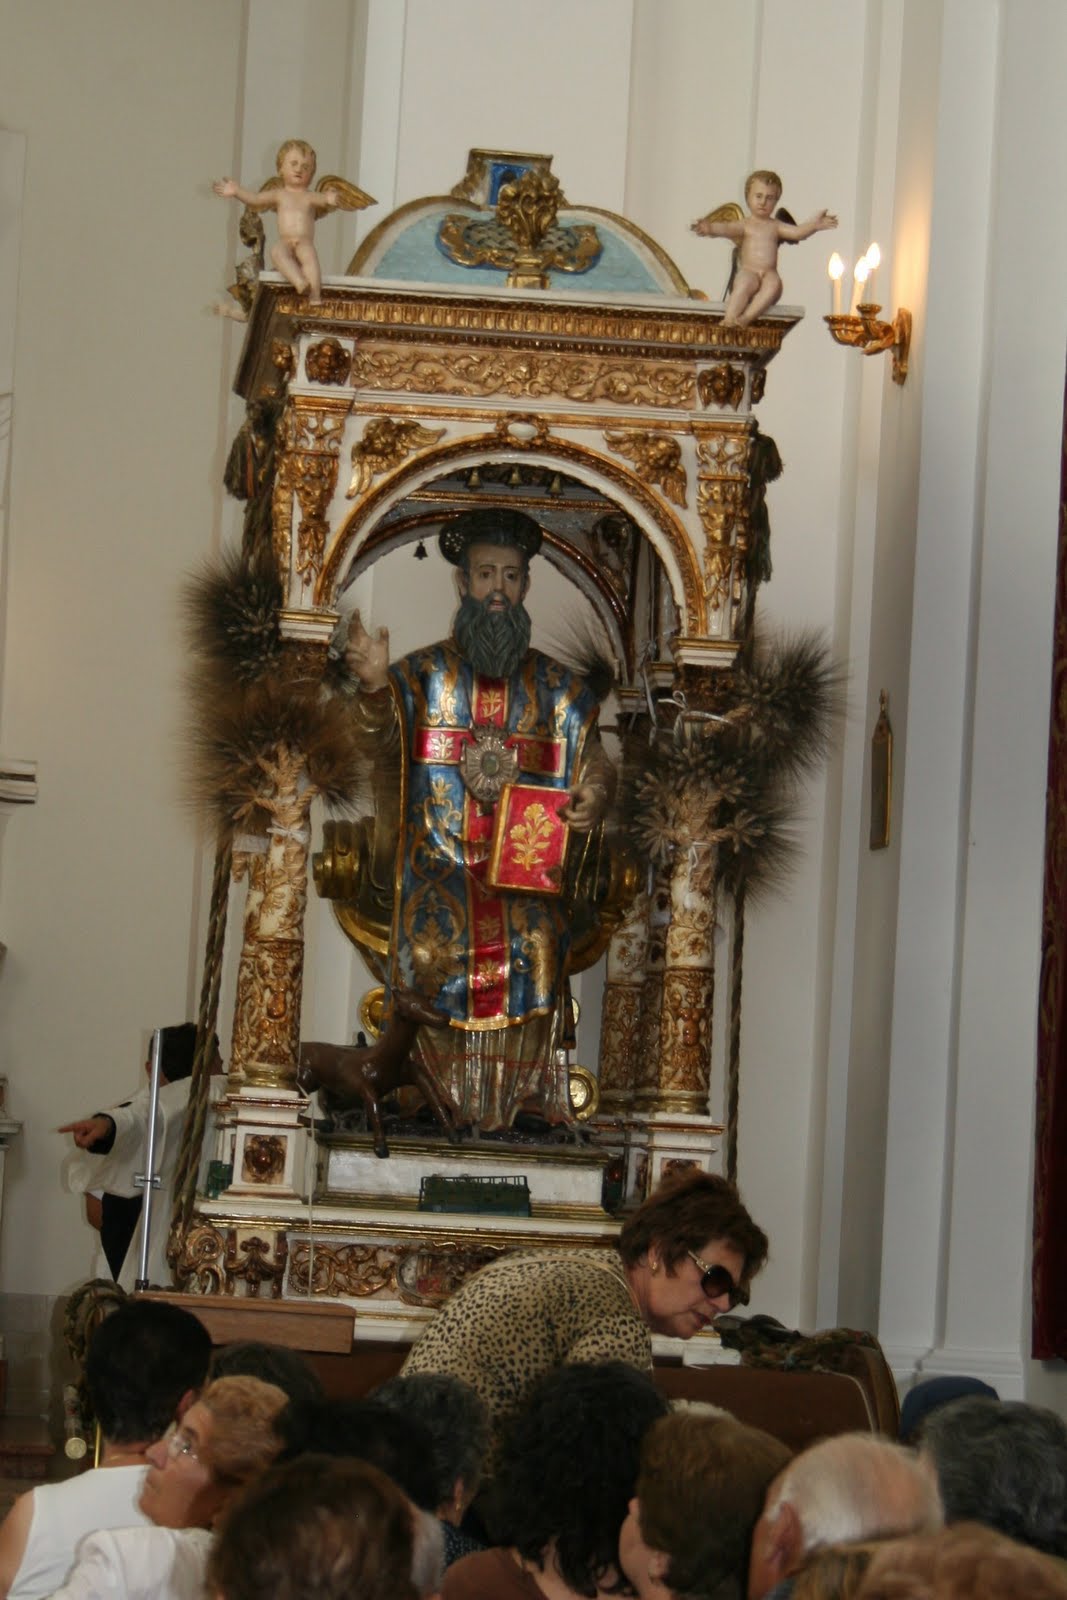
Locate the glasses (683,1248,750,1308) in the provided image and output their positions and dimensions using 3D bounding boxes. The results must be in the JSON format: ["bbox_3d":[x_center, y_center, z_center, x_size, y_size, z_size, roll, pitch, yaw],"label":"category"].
[{"bbox_3d":[0.309,0.836,3.777,0.114,0.038,0.115,35,-7,48],"label":"glasses"}]

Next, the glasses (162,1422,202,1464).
[{"bbox_3d":[-0.476,0.880,2.906,0.029,0.063,0.141,6,-6,-16],"label":"glasses"}]
